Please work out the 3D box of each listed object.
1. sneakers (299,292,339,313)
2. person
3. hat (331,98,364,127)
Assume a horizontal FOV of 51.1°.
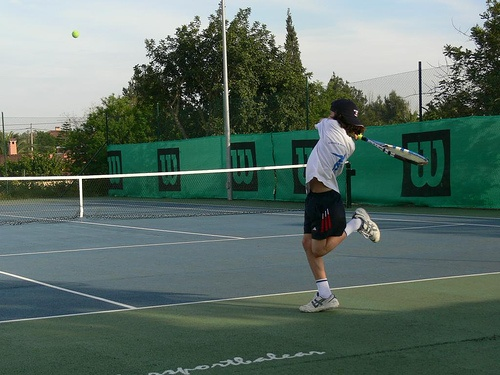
[{"bbox_3d":[0.712,1.188,5.374,0.430,0.210,0.159,0,-6,-13],"label":"sneakers"},{"bbox_3d":[0.868,0.179,5.506,0.673,2.189,0.718,-1,1,19],"label":"person"},{"bbox_3d":[0.981,-0.763,5.363,0.322,0.189,0.229,32,20,18],"label":"hat"}]
